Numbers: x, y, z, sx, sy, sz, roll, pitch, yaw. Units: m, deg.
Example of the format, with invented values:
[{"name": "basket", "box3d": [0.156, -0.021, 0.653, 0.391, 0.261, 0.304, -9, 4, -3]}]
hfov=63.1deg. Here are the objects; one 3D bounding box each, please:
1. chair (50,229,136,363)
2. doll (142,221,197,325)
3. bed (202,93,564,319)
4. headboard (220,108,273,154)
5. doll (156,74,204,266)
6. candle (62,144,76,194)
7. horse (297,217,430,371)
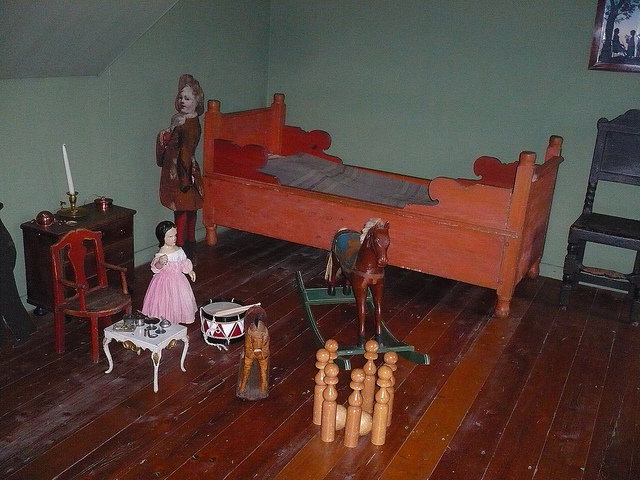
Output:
[{"name": "chair", "box3d": [-1.602, 0.381, 3.724, 0.440, 0.836, 0.496, 14, 18, 29]}, {"name": "doll", "box3d": [-1.125, 0.265, 4.013, 0.373, 0.787, 0.376, -12, 28, -40]}, {"name": "bed", "box3d": [0.487, -0.509, 5.303, 3.149, 1.584, 1.437, 14, 23, 25]}, {"name": "headboard", "box3d": [-0.798, -1.152, 5.461, 0.065, 0.371, 0.582, 13, 25, 34]}, {"name": "doll", "box3d": [-1.281, -0.748, 4.880, 0.351, 2.168, 0.336, 16, 26, 24]}, {"name": "candle", "box3d": [-1.989, -0.558, 4.085, 0.039, 0.371, 0.231, -9, 18, -25]}, {"name": "horse", "box3d": [0.310, 0.300, 3.930, 0.782, 1.085, 0.973, -5, 17, -14]}]
